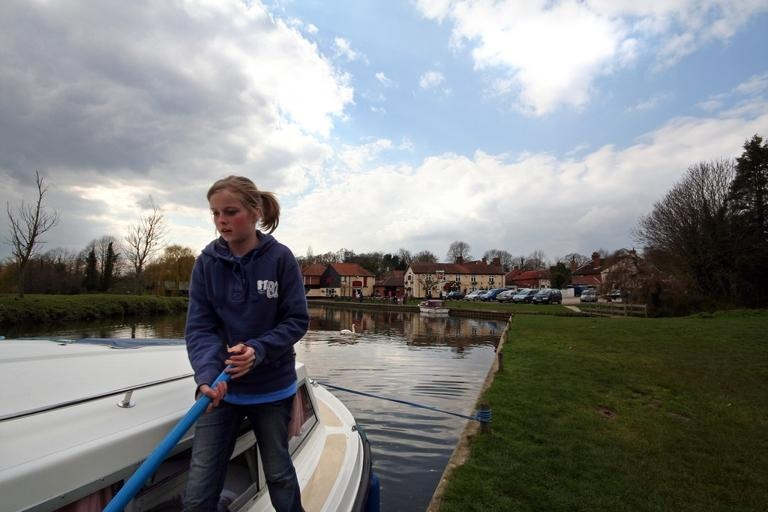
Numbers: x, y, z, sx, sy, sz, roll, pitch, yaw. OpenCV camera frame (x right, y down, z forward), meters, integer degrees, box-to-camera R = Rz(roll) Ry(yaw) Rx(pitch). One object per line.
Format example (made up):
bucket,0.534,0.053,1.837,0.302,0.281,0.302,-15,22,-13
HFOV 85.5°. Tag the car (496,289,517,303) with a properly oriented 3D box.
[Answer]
car,14.911,4.673,50.189,2.903,1.020,1.335,-12,9,-42

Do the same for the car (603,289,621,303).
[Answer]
car,16.002,2.741,29.195,1.546,0.851,1.055,2,-8,-8

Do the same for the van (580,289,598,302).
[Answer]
van,20.007,3.779,40.400,1.415,1.301,2.514,-8,-17,36

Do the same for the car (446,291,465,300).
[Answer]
car,10.788,5.735,60.644,2.324,1.250,1.370,4,-6,-15

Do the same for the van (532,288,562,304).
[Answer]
van,16.913,4.149,43.108,2.782,1.294,1.516,12,-17,-43

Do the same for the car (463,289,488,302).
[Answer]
car,12.825,5.261,56.689,2.749,1.078,1.370,6,-11,-41

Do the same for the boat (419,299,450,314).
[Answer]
boat,4.978,4.957,40.686,1.873,1.665,2.885,-1,-8,-20
